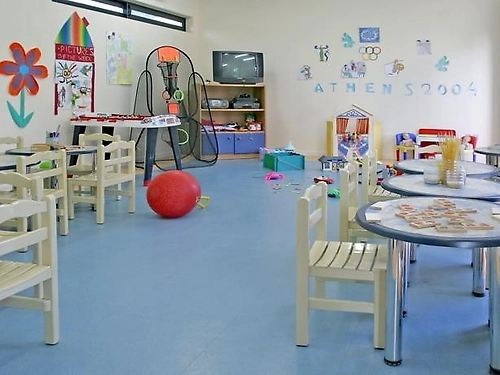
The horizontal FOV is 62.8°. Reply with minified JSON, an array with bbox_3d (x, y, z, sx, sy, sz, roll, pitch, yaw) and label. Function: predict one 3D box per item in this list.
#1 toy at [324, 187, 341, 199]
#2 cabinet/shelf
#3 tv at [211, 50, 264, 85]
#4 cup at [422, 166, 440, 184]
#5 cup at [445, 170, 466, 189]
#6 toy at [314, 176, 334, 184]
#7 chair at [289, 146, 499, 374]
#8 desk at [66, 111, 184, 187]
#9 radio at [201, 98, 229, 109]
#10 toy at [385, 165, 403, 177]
[{"bbox_3d":[0.981,0.055,4.791,0.179,0.075,0.209,6,18,27],"label":"toy"},{"bbox_3d":[-0.444,-1.235,7.654,1.510,1.555,0.641,-2,5,-13],"label":"cabinet/shelf"},{"bbox_3d":[-0.217,-2.169,7.448,0.990,0.644,0.569,-2,9,-12],"label":"tv"},{"bbox_3d":[1.093,-0.075,2.495,0.091,0.106,0.093,-2,5,0],"label":"cup"},{"bbox_3d":[1.186,-0.049,2.373,0.098,0.105,0.100,-2,5,0],"label":"cup"},{"bbox_3d":[0.932,-0.097,5.202,0.234,0.076,0.137,4,8,24],"label":"toy"},{"bbox_3d":[0.579,0.390,2.011,0.934,0.627,0.714,1,8,8],"label":"chair"},{"bbox_3d":[-1.559,-0.312,5.643,1.302,0.838,1.030,6,7,26],"label":"desk"},{"bbox_3d":[-0.620,-1.527,7.523,0.523,0.178,0.308,-10,18,-34],"label":"radio"},{"bbox_3d":[1.424,-0.160,4.069,0.173,0.101,0.250,8,21,24],"label":"toy"}]
